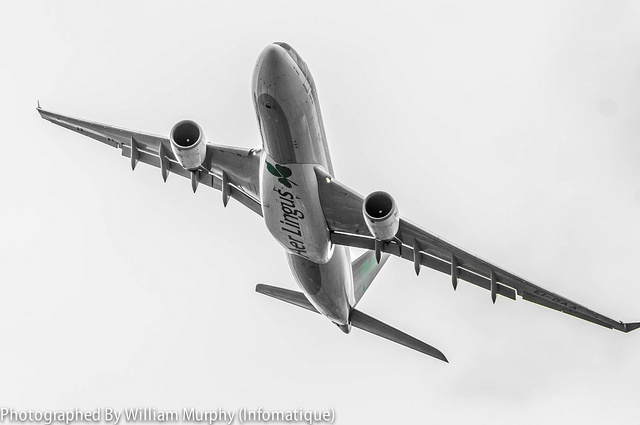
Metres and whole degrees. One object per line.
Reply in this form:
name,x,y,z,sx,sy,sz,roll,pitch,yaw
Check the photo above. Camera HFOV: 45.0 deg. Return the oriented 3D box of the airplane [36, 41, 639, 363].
airplane,-0.584,0.290,19.809,12.584,3.085,8.514,17,-43,18
